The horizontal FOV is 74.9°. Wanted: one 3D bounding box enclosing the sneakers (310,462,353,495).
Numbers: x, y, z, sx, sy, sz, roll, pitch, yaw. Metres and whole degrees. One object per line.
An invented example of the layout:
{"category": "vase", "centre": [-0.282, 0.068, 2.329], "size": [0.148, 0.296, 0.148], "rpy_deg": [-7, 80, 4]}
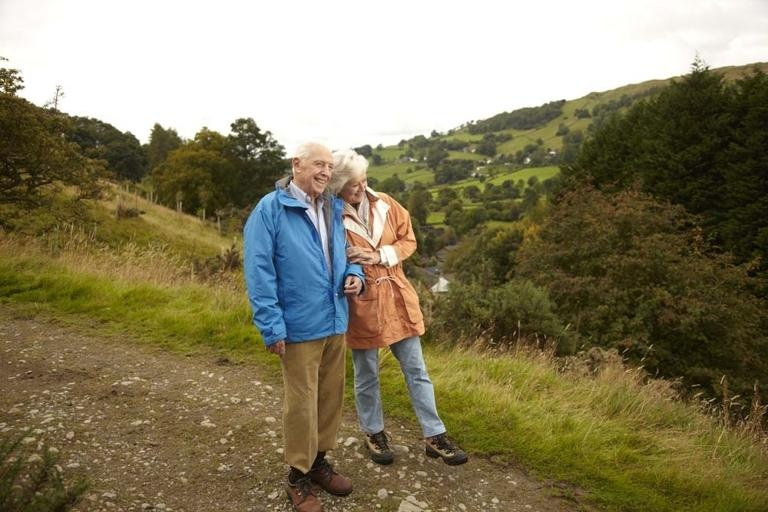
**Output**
{"category": "sneakers", "centre": [-0.693, 2.856, 6.545], "size": [0.641, 0.285, 0.287], "rpy_deg": [10, 18, 22]}
